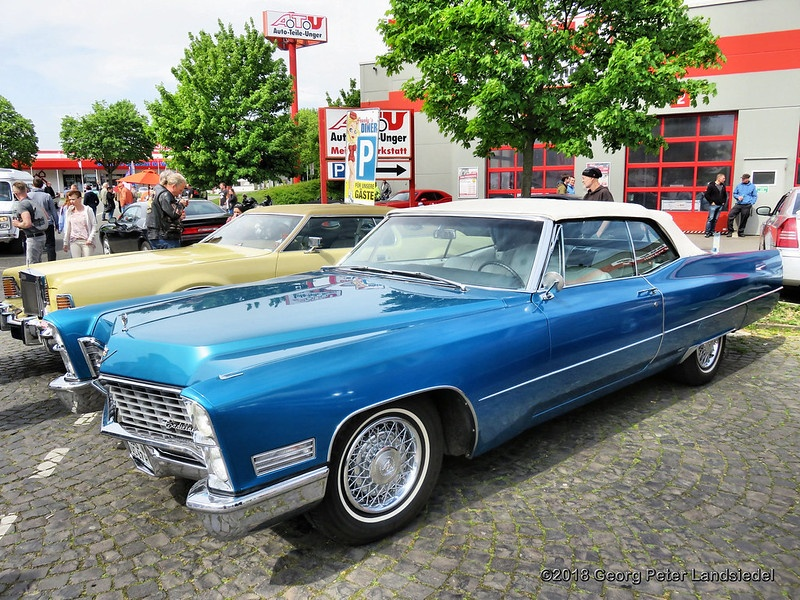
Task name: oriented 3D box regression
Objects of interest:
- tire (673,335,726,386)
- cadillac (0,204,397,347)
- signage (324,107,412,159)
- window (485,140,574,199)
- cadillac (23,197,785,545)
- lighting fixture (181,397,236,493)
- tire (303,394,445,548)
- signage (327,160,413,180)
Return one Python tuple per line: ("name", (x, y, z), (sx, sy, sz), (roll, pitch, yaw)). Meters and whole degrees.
("tire", (2.848, 0.556, 4.913), (0.631, 0.514, 0.208), (-5, 12, -31))
("cadillac", (-1.915, -0.493, 6.911), (5.362, 1.336, 2.101), (-5, 9, -33))
("signage", (-0.823, -4.303, 12.597), (2.445, 1.284, 0.054), (-10, 30, -25))
("window", (5.439, -5.948, 21.744), (3.252, 0.078, 3.012), (4, -20, 12))
("cadillac", (0.628, 0.157, 3.726), (4.757, 1.110, 2.504), (-9, 13, -29))
("lighting fixture", (-0.911, 0.685, 2.418), (0.284, 0.449, 0.064), (13, 19, 43))
("tire", (-0.136, 0.939, 2.923), (0.150, 0.710, 0.791), (-6, 21, 42))
("signage", (-0.690, -3.128, 11.537), (1.731, 0.338, 0.219), (2, -3, 8))
